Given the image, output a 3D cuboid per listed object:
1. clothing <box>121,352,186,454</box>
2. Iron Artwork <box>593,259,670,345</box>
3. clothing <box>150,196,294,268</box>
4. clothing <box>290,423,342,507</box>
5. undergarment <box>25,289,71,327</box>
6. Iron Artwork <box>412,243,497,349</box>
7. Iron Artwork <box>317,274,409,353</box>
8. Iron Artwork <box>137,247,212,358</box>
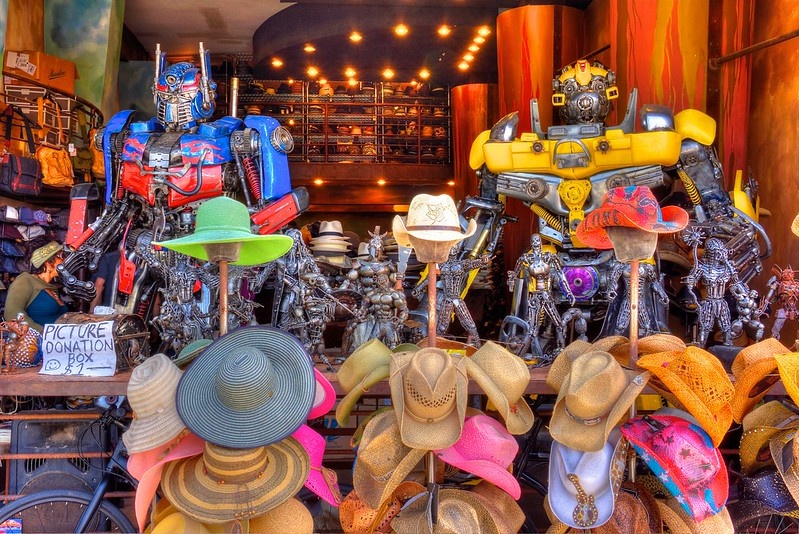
[{"bbox_3d":[-1.403,0.786,4.001,0.407,0.265,0.495,-30,20,4],"label":"clothing"},{"bbox_3d":[1.705,0.251,4.982,0.574,0.604,0.344,-2,-3,11],"label":"Iron Artwork"},{"bbox_3d":[-1.108,-0.231,4.194,0.802,0.360,0.851,1,-7,-11],"label":"clothing"},{"bbox_3d":[-0.443,1.217,4.111,0.414,0.150,0.423,47,-4,36],"label":"clothing"},{"bbox_3d":[-3.036,0.347,5.759,0.244,0.390,0.288,-2,3,29],"label":"undergarment"},{"bbox_3d":[0.404,0.214,5.278,0.818,1.170,0.375,0,-9,0],"label":"Iron Artwork"},{"bbox_3d":[-0.266,0.332,4.986,0.565,0.742,0.231,1,9,2],"label":"Iron Artwork"},{"bbox_3d":[-1.679,0.232,5.113,0.800,0.563,0.338,36,15,32],"label":"Iron Artwork"}]
